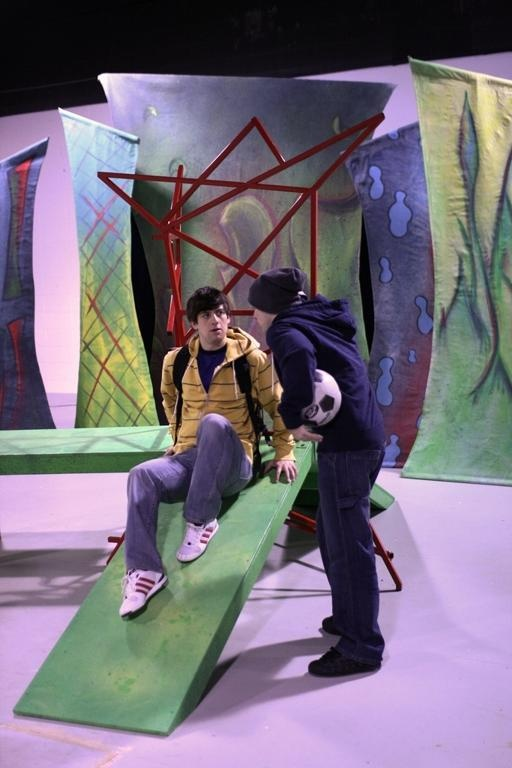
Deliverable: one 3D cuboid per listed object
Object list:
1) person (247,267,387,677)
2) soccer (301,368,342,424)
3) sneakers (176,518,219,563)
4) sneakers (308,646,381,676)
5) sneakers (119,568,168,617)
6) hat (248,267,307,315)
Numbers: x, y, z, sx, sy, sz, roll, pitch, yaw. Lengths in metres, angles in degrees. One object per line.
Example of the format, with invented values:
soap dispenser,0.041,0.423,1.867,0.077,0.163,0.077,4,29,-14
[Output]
person,0.184,0.230,1.830,0.344,1.092,0.377,-4,8,-1
soccer,0.158,0.045,1.696,0.082,0.155,0.137,1,8,29
sneakers,-0.167,0.458,1.975,0.059,0.058,0.151,1,29,22
sneakers,0.218,0.753,1.797,0.218,0.078,0.071,3,-1,1
sneakers,-0.312,0.556,1.858,0.067,0.080,0.172,-15,21,44
hat,0.063,-0.252,1.890,0.121,0.118,0.158,-23,15,-33
